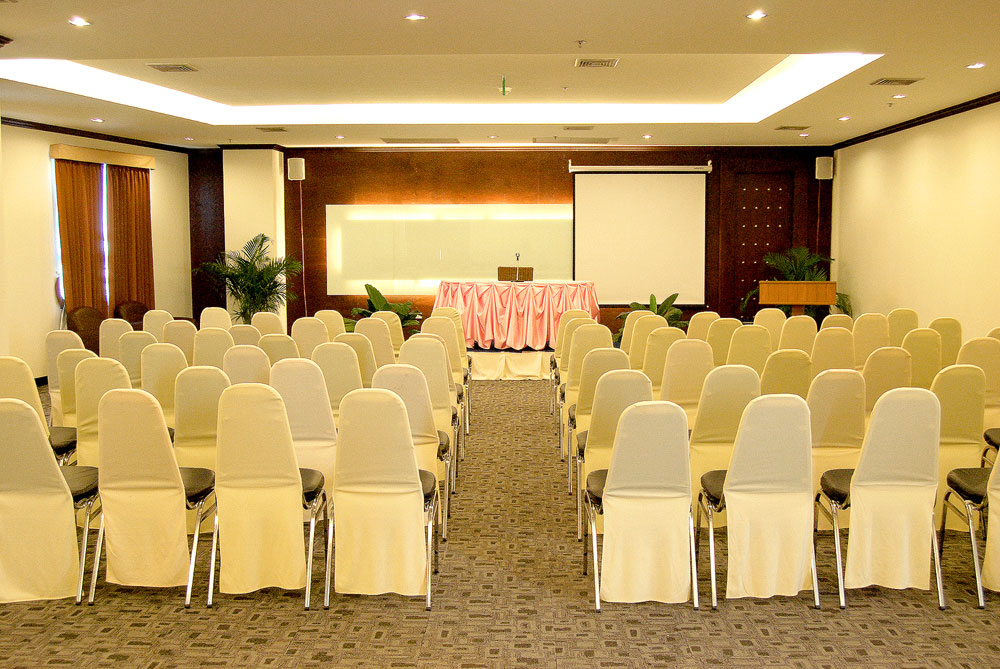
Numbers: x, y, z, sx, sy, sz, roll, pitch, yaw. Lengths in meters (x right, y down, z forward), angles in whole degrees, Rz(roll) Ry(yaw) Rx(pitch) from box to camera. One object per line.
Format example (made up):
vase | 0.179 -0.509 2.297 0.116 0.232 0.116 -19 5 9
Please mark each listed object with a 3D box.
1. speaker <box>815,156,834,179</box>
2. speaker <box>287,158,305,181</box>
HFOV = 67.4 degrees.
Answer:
speaker | 6.157 -3.141 14.069 0.246 0.446 0.486 4 6 42
speaker | -3.905 -3.181 14.351 0.363 0.447 0.454 -1 5 -15
